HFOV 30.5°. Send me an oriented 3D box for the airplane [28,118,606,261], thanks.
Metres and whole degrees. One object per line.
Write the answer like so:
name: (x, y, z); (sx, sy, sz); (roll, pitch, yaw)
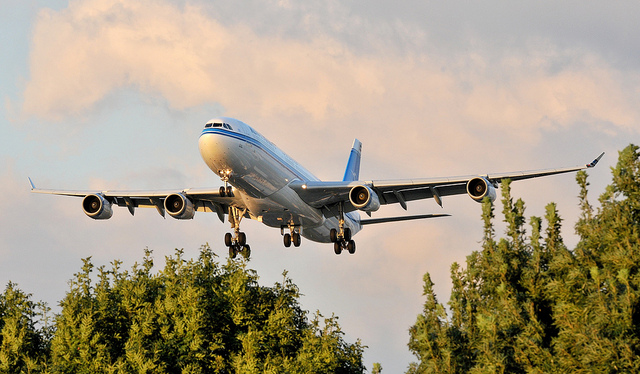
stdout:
airplane: (-0.731, -0.593, 74.048); (36.499, 10.004, 24.037); (-1, -15, 11)
